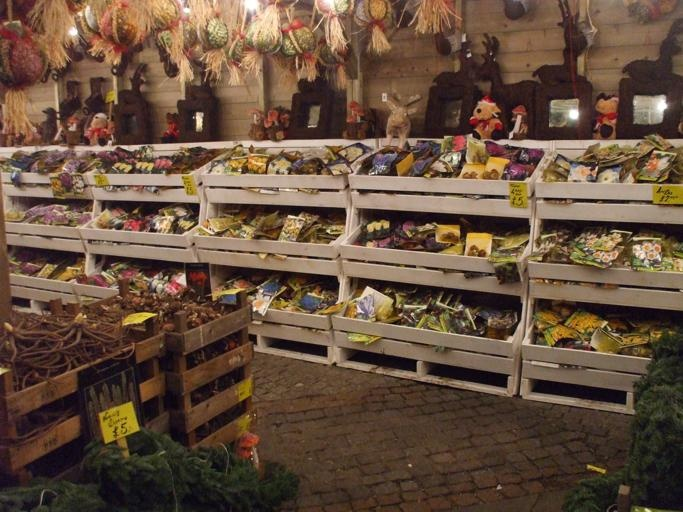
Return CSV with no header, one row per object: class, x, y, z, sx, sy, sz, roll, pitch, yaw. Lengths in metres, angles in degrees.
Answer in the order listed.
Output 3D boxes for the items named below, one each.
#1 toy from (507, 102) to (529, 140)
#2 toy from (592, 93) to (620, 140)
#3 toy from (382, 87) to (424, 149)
toy,1.648,-1.266,5.168,0.143,0.314,0.212,-6,14,-19
toy,2.366,-1.261,4.919,0.184,0.406,0.210,3,14,18
toy,0.723,-1.382,5.564,0.385,0.577,0.667,10,14,6
